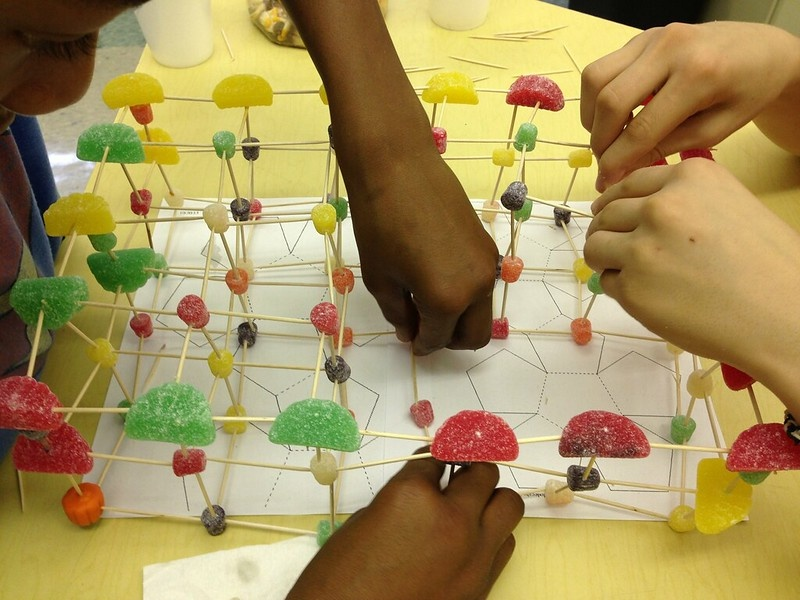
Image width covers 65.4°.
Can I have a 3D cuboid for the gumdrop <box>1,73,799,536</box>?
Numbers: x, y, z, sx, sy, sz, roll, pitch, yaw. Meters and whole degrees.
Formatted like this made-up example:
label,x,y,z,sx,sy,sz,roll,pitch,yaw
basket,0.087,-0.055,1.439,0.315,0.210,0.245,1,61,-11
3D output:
label,x,y,z,sx,sy,sz,roll,pitch,yaw
gumdrop,-0.023,-0.024,1.134,1.274,0.383,0.833,1,64,-1
